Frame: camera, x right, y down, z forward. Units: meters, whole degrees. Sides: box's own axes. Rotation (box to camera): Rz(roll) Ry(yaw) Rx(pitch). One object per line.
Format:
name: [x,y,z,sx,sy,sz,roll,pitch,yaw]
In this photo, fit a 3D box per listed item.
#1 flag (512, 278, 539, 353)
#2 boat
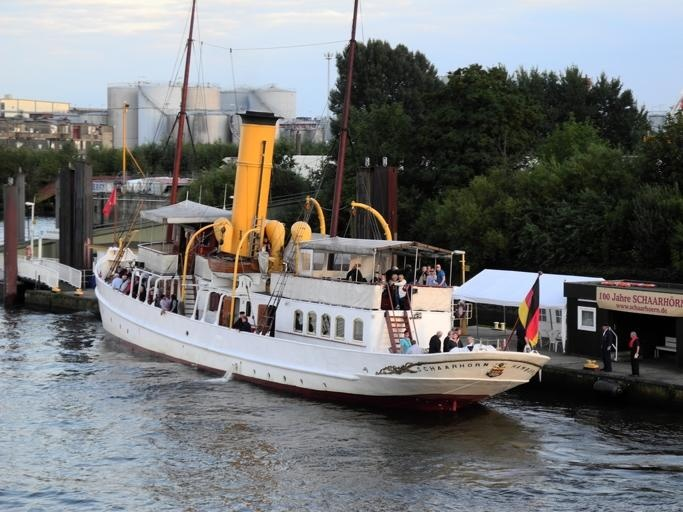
flag: [7.923,2.396,49.381,0.871,4.377,1.044,-4,2,-34]
boat: [-1.823,-0.283,53.688,21.933,11.977,5.046,5,4,39]
